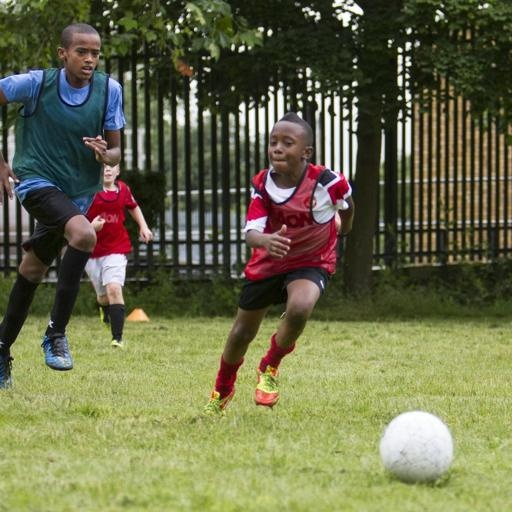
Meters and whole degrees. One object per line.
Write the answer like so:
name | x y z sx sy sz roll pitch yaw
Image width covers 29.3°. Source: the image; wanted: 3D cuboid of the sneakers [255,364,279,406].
sneakers | 0.060 0.764 5.706 0.135 0.237 0.256 -1 5 1

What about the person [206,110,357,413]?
person | 0.155 0.011 5.737 0.906 1.716 0.602 -1 5 -8

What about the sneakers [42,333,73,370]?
sneakers | -1.198 0.588 5.904 0.108 0.121 0.294 -6 41 -25

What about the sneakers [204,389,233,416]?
sneakers | -0.211 0.868 5.654 0.074 0.101 0.224 -5 34 29

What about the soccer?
soccer | 0.776 0.907 4.740 0.283 0.318 0.326 -1 38 -17
